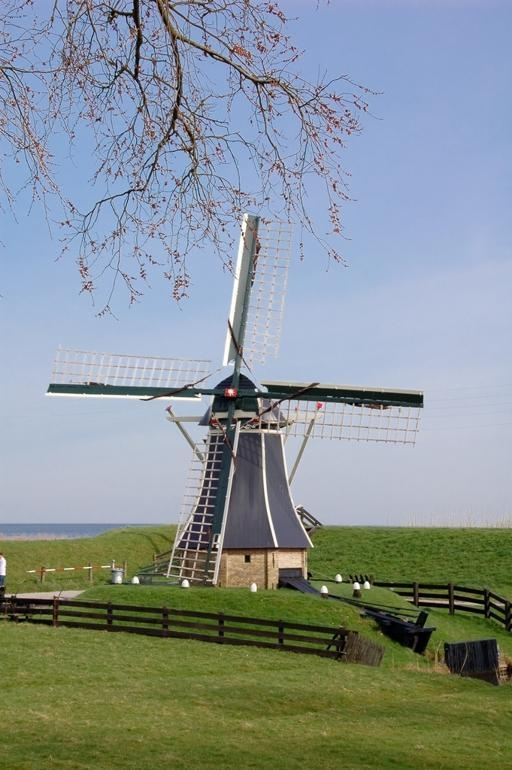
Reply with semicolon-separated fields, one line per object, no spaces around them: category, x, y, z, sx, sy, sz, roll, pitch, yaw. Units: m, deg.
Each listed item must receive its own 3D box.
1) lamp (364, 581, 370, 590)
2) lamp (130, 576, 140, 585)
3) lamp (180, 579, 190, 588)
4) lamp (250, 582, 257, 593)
lamp;3.618;6.521;33.826;0.198;0.194;0.215;5;-7;-20
lamp;-3.464;5.542;29.488;0.255;0.135;0.320;3;-8;-13
lamp;-2.033;5.473;28.664;0.299;0.257;0.249;0;-24;6
lamp;-0.104;5.491;28.058;0.190;0.232;0.161;2;-4;-1
